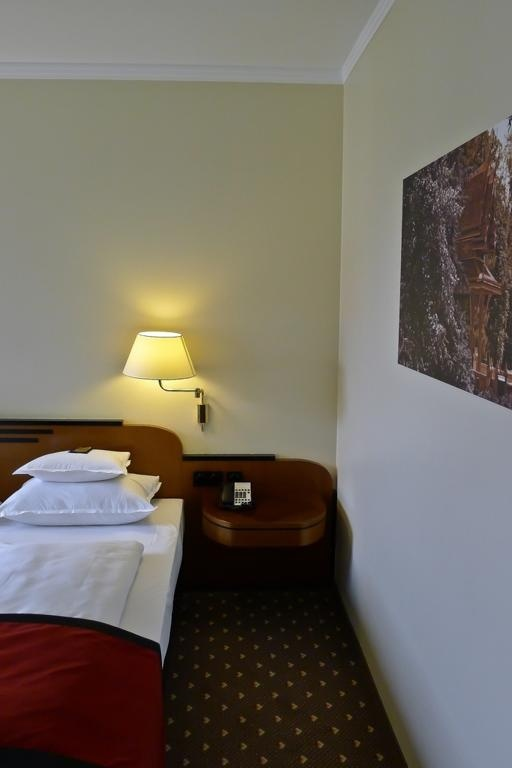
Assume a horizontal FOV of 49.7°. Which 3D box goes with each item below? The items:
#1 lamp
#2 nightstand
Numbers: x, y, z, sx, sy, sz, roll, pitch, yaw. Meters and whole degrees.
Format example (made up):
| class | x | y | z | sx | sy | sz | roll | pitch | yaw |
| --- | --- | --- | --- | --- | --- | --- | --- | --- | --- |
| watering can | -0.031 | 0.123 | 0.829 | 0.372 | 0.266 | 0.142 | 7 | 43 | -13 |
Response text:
| class | x | y | z | sx | sy | sz | roll | pitch | yaw |
| --- | --- | --- | --- | --- | --- | --- | --- | --- | --- |
| lamp | -0.384 | -0.026 | 2.335 | 0.379 | 0.500 | 0.329 | 1 | 6 | -15 |
| nightstand | 0.052 | 0.593 | 2.455 | 0.666 | 0.421 | 0.396 | -1 | 9 | -7 |
